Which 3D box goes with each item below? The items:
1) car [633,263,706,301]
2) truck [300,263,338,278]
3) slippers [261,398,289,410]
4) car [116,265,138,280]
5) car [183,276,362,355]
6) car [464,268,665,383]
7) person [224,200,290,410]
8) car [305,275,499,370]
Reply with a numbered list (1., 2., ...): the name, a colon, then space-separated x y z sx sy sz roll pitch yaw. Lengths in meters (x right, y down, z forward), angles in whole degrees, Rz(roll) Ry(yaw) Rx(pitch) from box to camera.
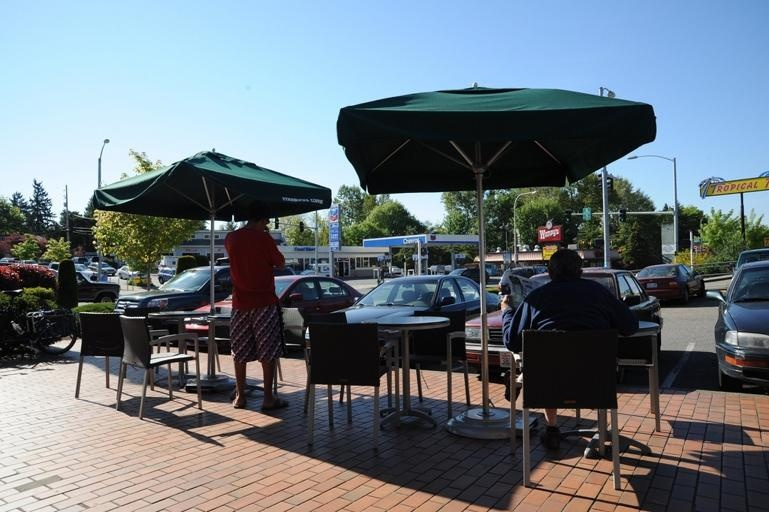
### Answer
1. car: 9.969 0.920 23.203 1.160 0.829 2.873 1 4 38
2. truck: -4.685 1.020 48.535 2.098 0.945 1.250 3 -5 -18
3. slippers: -1.595 2.128 9.823 0.135 0.127 0.362 5 7 43
4. car: -20.950 1.420 54.562 1.236 0.950 2.717 -3 -3 -37
5. car: -1.877 0.935 13.637 1.620 1.194 3.698 -4 -8 35
6. car: 2.985 1.070 11.398 1.685 1.308 3.940 -8 -10 44
7. person: -1.874 0.750 9.794 0.866 2.919 0.669 -2 8 -2
8. car: 0.476 0.961 12.157 1.361 1.005 3.134 -8 -13 34
